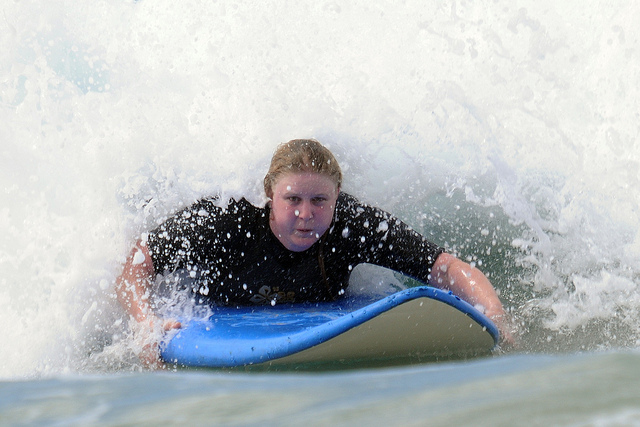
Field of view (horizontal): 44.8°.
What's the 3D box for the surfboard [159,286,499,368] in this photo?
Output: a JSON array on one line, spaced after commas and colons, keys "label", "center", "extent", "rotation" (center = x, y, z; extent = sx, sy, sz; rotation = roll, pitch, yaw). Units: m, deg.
[{"label": "surfboard", "center": [0.067, 0.771, 4.861], "extent": [0.860, 1.570, 0.272], "rotation": [1, 82, -35]}]
